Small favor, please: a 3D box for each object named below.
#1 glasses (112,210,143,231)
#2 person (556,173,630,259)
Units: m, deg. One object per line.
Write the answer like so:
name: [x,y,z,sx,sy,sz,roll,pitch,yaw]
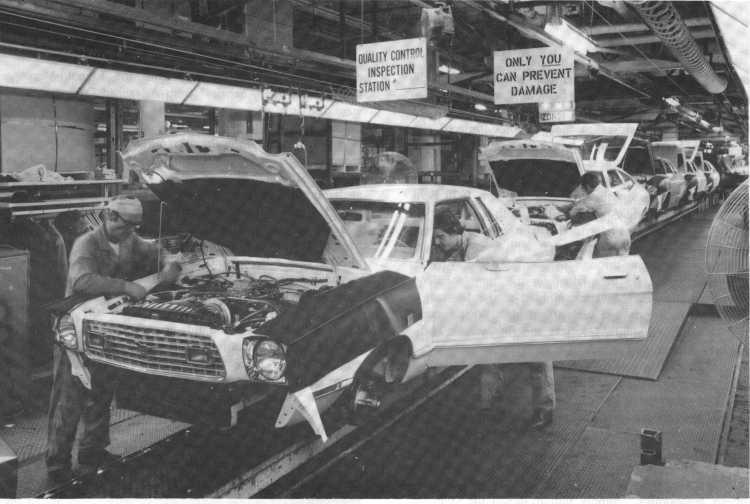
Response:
glasses: [-2.128,-0.291,5.926,0.206,0.083,0.168,13,0,26]
person: [1.959,-0.315,6.356,0.472,0.815,0.311,-11,-13,-25]
